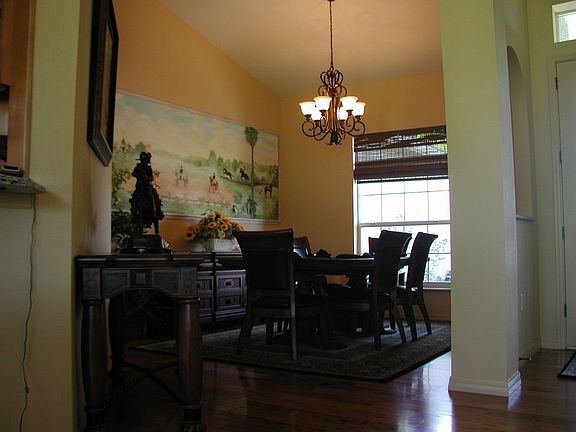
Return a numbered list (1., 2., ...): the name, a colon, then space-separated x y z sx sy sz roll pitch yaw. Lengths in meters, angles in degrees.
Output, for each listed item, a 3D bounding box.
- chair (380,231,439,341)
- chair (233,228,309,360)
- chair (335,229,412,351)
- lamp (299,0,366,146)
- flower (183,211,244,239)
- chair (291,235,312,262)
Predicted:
1. chair: 1.274 0.758 5.050 0.556 1.086 0.656 3 -6 -34
2. chair: -0.066 0.652 4.235 0.701 1.076 0.752 -2 1 38
3. chair: 0.788 0.719 4.571 0.620 1.100 0.689 4 -4 -41
4. lamp: 0.519 -1.672 6.068 0.959 1.803 2.254 -1 -4 10
5. flower: -0.971 0.186 6.230 0.736 0.411 0.753 10 -16 -44
6. chair: 0.158 0.383 5.722 0.179 0.273 0.216 2 -8 -31
